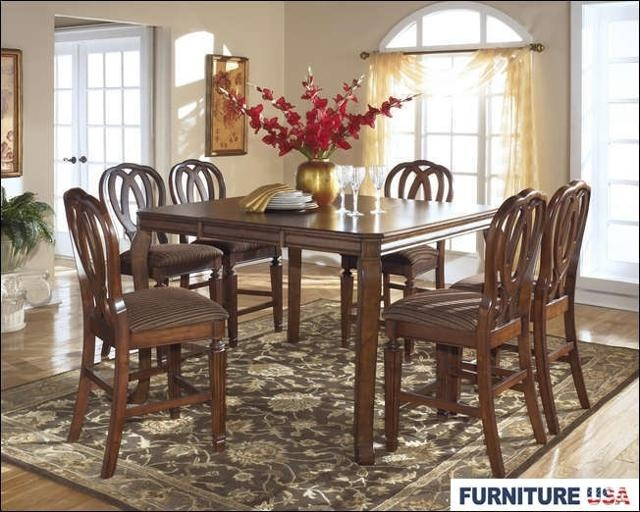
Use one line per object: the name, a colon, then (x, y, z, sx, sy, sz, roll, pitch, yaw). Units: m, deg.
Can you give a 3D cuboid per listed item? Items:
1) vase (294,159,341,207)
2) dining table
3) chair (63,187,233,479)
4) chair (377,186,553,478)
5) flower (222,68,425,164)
vase: (-0.010, -0.415, 3.129, 0.306, 0.279, 0.272, -1, 4, -1)
dining table: (0.212, 0.137, 2.992, 1.516, 0.864, 1.486, 5, 8, 34)
chair: (-0.752, 0.268, 2.306, 0.657, 1.111, 0.644, -5, 12, -25)
chair: (0.639, 0.276, 2.284, 0.653, 1.122, 0.625, 5, 12, 23)
flower: (0.069, -1.263, 4.874, 1.707, 0.762, 1.585, -1, 10, 8)
